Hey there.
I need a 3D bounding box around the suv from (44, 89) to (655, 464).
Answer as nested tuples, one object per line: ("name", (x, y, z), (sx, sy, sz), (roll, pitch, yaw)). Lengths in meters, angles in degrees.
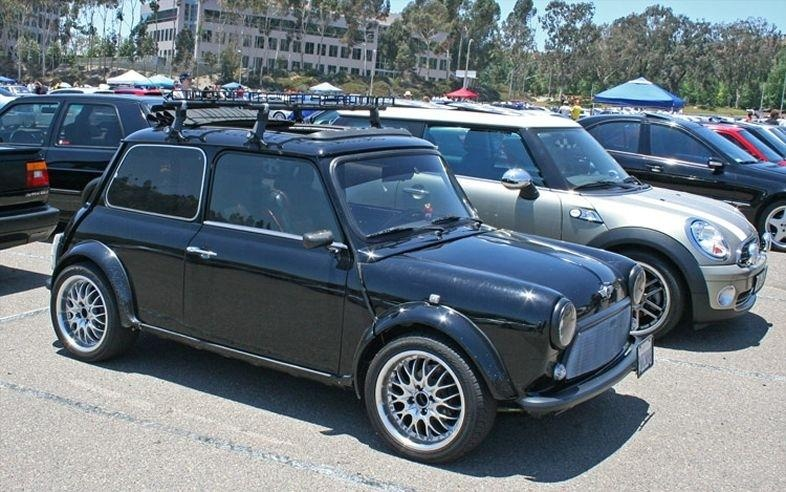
("suv", (-0.617, 0.013, 6.446), (5.839, 2.564, 2.935), (7, 11, 24))
